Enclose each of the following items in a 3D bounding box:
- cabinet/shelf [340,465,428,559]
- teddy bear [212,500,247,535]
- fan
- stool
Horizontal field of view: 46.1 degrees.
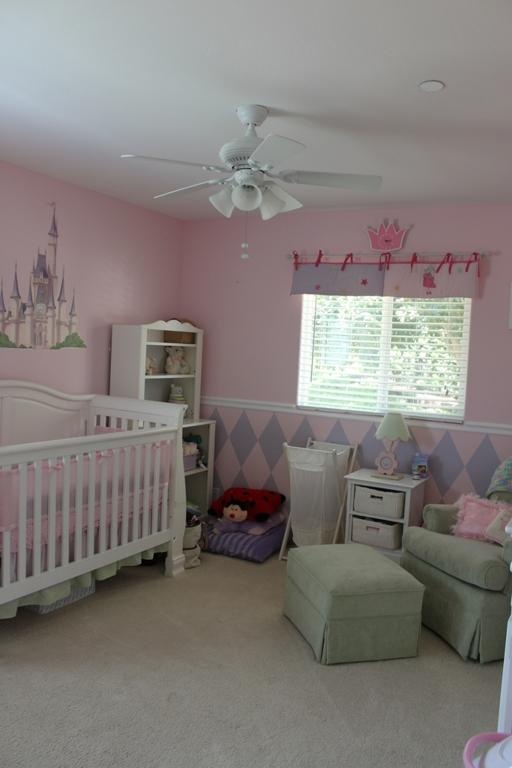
[{"bbox_3d":[0.753,0.702,3.699,0.574,0.592,0.408,3,-3,33],"label":"cabinet/shelf"},{"bbox_3d":[-0.164,0.889,4.031,0.215,0.185,0.164,4,2,5],"label":"teddy bear"},{"bbox_3d":[0.017,-0.758,2.172,0.640,0.245,0.639,1,0,27],"label":"fan"},{"bbox_3d":[0.451,0.937,2.668,0.414,0.292,0.527,-1,3,-15],"label":"stool"}]
